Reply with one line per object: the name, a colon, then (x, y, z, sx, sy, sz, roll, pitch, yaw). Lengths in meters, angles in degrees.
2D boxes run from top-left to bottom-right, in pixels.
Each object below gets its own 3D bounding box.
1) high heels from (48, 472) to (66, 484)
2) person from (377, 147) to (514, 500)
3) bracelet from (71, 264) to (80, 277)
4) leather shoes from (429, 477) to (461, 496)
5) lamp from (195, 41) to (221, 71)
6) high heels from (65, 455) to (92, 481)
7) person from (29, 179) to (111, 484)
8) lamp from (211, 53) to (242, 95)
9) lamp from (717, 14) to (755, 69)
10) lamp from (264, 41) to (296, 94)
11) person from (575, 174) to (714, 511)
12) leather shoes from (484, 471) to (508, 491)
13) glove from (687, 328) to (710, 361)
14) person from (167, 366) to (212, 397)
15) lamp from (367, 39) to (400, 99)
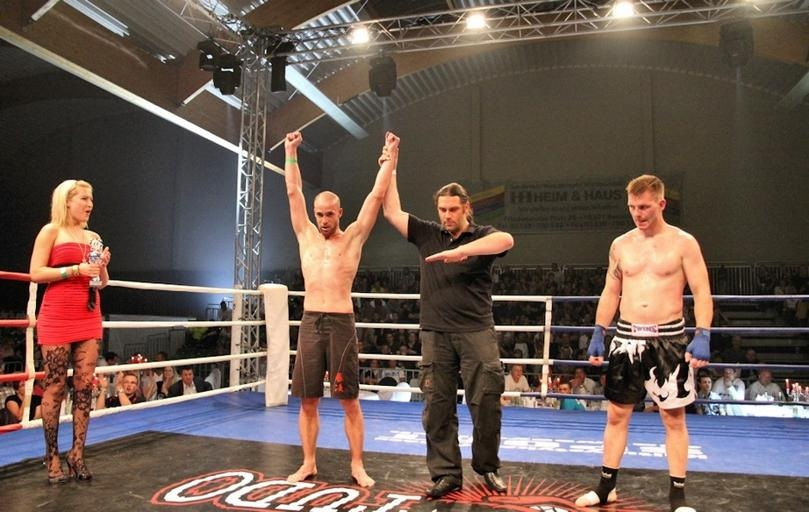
high heels: (-3.230, 2.051, 5.733, 0.206, 0.074, 0.077, -1, -3, 32)
person: (0.422, 0.743, 5.730, 1.077, 2.835, 0.641, 1, 5, 11)
bracelet: (-3.074, 0.135, 5.757, 0.070, 0.106, 0.097, 0, -4, -21)
leather shoes: (0.368, 2.091, 5.587, 0.317, 0.129, 0.124, 1, -8, -31)
lamp: (-3.437, -3.488, 10.732, 0.397, 0.485, 0.289, 3, 5, 36)
high heels: (-3.088, 1.995, 5.843, 0.194, 0.203, 0.262, -2, 5, -31)
person: (-3.169, 0.684, 5.862, 0.663, 2.808, 0.521, -2, 5, -26)
lamp: (-3.128, -3.217, 10.856, 0.478, 0.671, 0.223, -1, 5, -16)
lamp: (5.835, -3.767, 10.864, 0.505, 0.802, 0.497, 2, 5, 26)
lamp: (-2.277, -3.479, 11.254, 0.450, 0.887, 0.574, -1, 5, -20)
person: (2.162, 0.764, 5.484, 1.009, 2.930, 0.555, 2, 5, 22)
leather shoes: (0.829, 2.074, 5.704, 0.244, 0.178, 0.154, 2, 4, 20)
glove: (2.614, 0.800, 5.509, 0.208, 0.262, 0.114, 1, -11, 3)
person: (-3.096, 1.831, 8.853, 0.573, 0.483, 1.209, -1, 4, -19)
lamp: (-0.416, -3.519, 11.671, 0.507, 0.957, 0.495, 0, 4, -6)
